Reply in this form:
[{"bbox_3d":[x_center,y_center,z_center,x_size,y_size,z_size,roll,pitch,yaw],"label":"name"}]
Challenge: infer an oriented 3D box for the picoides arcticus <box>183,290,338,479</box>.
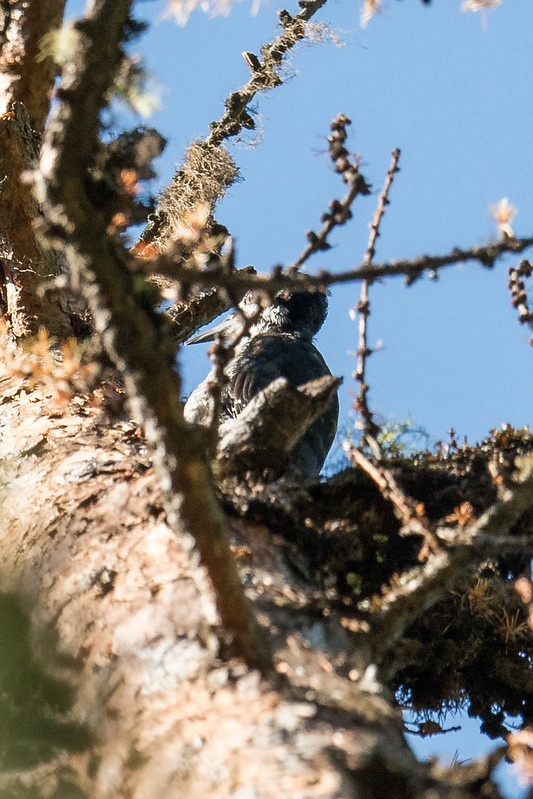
[{"bbox_3d":[-0.021,-0.025,9.334,0.761,1.092,0.465,-2,-62,16],"label":"picoides arcticus"}]
